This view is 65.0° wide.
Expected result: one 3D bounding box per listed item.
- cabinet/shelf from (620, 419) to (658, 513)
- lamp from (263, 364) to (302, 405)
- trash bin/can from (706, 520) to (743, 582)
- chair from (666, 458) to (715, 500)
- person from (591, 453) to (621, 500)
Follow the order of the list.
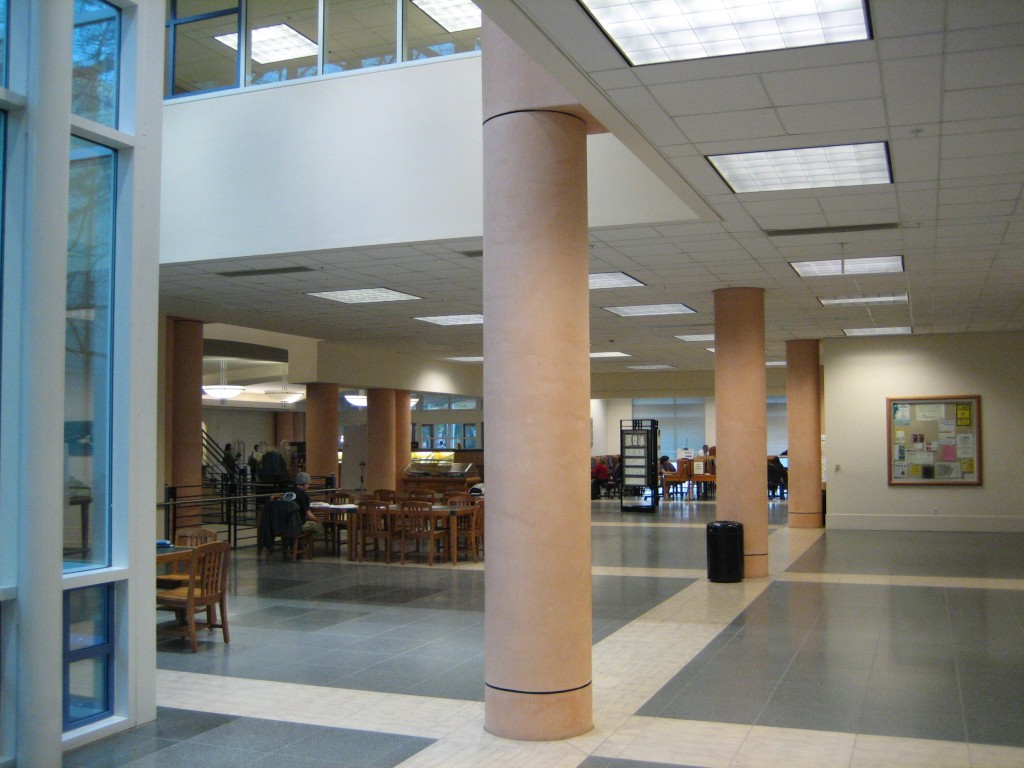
[{"bbox_3d":[3.813,2.371,24.860,1.090,2.740,0.939,0,6,15],"label":"cabinet/shelf"},{"bbox_3d":[-9.255,-0.028,32.246,1.441,1.398,1.413,9,-11,-44],"label":"lamp"},{"bbox_3d":[3.194,2.512,12.097,0.494,0.885,0.253,-1,-4,5],"label":"trash bin/can"},{"bbox_3d":[5.971,3.346,28.069,2.030,1.426,1.589,1,0,15],"label":"chair"},{"bbox_3d":[3.460,3.446,29.875,0.968,1.485,3.521,-1,-5,6],"label":"person"}]
